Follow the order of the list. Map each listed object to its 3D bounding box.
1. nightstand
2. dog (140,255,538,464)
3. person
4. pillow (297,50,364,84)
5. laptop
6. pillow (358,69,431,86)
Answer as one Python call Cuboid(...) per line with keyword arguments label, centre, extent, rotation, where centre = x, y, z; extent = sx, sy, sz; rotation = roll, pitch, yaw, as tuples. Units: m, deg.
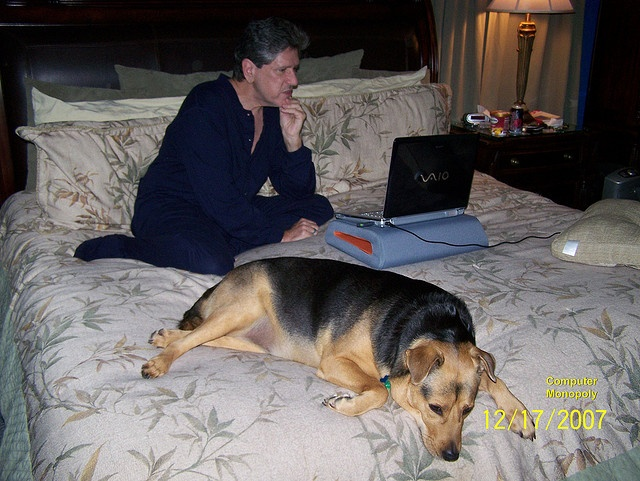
Cuboid(label="nightstand", centre=(1.363, -0.525, 3.221), extent=(0.591, 0.677, 0.409), rotation=(-12, 32, -26))
Cuboid(label="dog", centre=(0.059, 0.292, 1.540), extent=(0.847, 0.259, 0.603), rotation=(19, 19, 35))
Cuboid(label="person", centre=(-0.503, -0.514, 2.478), extent=(0.925, 1.190, 1.397), rotation=(19, 23, 40))
Cuboid(label="pillow", centre=(0.072, -1.197, 3.271), extent=(0.349, 0.086, 0.365), rotation=(-9, 20, 20))
Cuboid(label="laptop", centre=(0.416, -0.283, 2.168), extent=(0.514, 0.372, 0.419), rotation=(-8, 17, -31))
Cuboid(label="pillow", centre=(0.501, -1.146, 3.305), extent=(0.291, 0.089, 0.290), rotation=(-6, 17, -20))
